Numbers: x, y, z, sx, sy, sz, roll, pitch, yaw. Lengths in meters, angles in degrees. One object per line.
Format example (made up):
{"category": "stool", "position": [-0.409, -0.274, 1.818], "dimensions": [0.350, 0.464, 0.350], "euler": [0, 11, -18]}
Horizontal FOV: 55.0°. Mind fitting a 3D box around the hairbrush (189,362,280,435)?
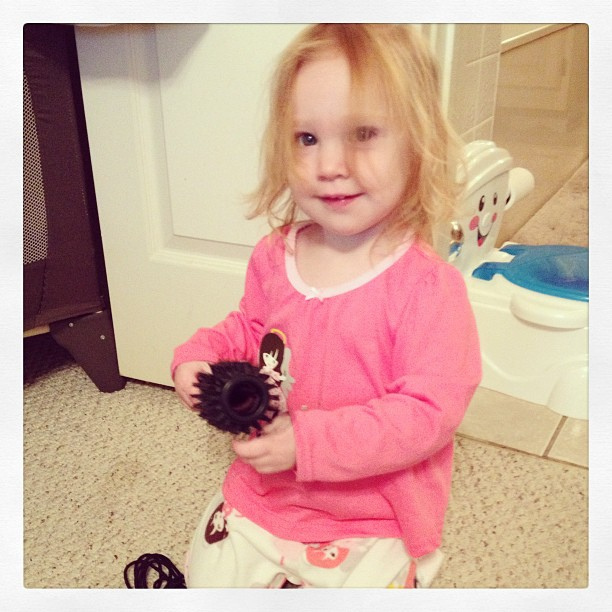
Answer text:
{"category": "hairbrush", "position": [-0.065, 0.095, 0.559], "dimensions": [0.086, 0.074, 0.075], "euler": [-5, 25, -8]}
